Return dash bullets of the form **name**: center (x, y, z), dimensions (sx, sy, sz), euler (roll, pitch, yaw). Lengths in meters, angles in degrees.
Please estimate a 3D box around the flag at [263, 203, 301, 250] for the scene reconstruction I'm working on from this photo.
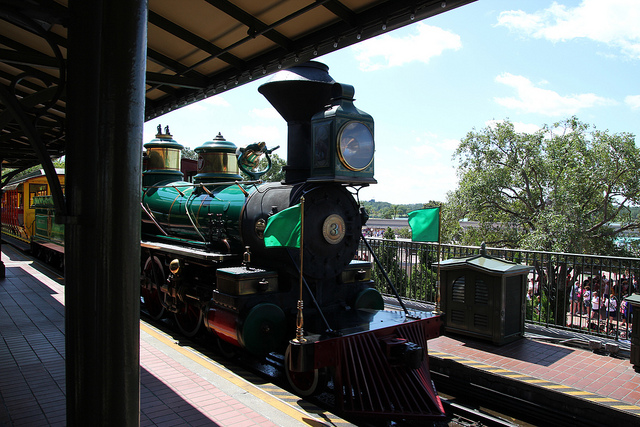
- **flag**: center (-0.563, 0.215, 6.832), dimensions (0.754, 0.973, 0.118), euler (2, 9, 1)

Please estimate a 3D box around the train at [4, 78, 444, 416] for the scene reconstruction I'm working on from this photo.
- **train**: center (-1.456, 0.114, 8.684), dimensions (8.447, 5.249, 2.291), euler (5, 5, 44)
